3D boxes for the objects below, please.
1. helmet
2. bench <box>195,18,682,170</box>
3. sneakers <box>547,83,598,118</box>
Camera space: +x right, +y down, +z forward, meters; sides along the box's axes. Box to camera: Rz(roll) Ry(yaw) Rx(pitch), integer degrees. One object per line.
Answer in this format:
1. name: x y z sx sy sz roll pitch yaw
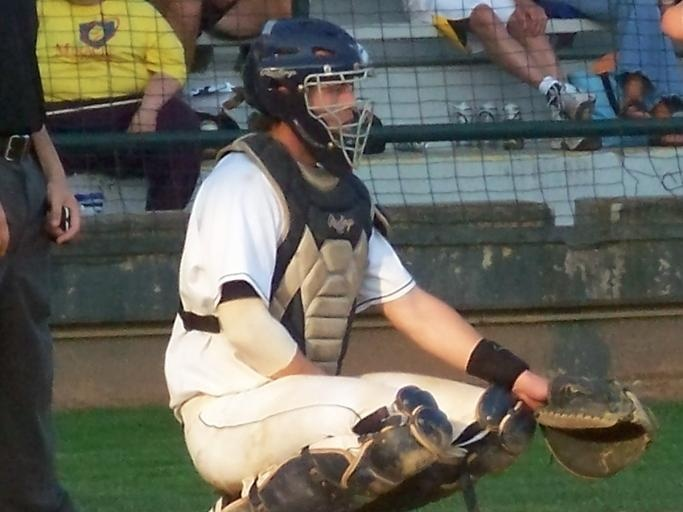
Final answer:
1. helmet: -0.083 -0.583 4.986 0.467 0.543 0.449 6 14 10
2. bench: 0.425 -0.679 5.936 1.449 0.494 0.653 -4 -14 2
3. sneakers: 1.067 -0.710 6.421 0.204 0.161 0.081 31 -7 -6
